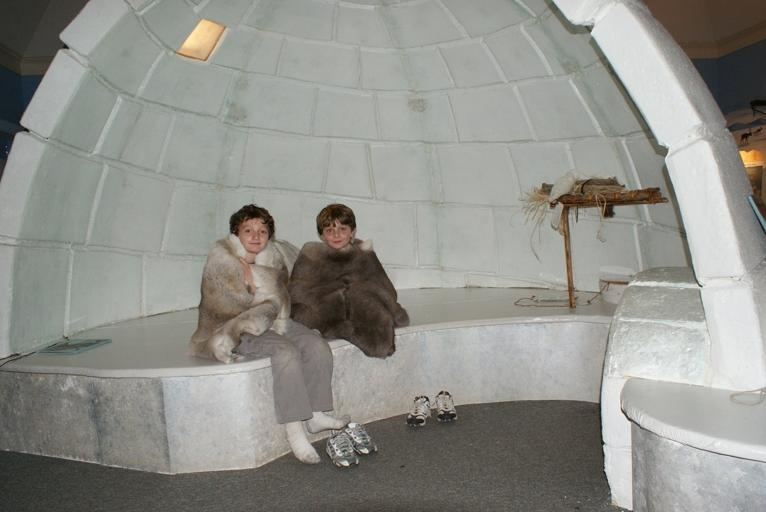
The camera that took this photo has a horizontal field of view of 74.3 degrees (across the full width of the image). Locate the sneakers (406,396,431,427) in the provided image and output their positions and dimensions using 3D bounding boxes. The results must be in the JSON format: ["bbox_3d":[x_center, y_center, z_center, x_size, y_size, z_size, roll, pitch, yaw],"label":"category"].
[{"bbox_3d":[0.241,1.048,3.486,0.168,0.124,0.251,0,14,5],"label":"sneakers"}]

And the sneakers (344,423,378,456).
[{"bbox_3d":[-0.148,1.131,3.184,0.108,0.123,0.290,-3,4,-34],"label":"sneakers"}]

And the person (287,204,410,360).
[{"bbox_3d":[-0.333,0.149,3.768,0.994,1.154,0.297,9,-41,-19],"label":"person"}]

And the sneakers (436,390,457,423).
[{"bbox_3d":[0.436,1.029,3.523,0.148,0.139,0.251,-1,14,3],"label":"sneakers"}]

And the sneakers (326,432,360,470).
[{"bbox_3d":[-0.252,1.149,3.066,0.143,0.126,0.291,-9,15,-25],"label":"sneakers"}]

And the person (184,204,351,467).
[{"bbox_3d":[-0.735,0.462,3.148,0.710,1.458,0.933,-14,20,-40],"label":"person"}]
